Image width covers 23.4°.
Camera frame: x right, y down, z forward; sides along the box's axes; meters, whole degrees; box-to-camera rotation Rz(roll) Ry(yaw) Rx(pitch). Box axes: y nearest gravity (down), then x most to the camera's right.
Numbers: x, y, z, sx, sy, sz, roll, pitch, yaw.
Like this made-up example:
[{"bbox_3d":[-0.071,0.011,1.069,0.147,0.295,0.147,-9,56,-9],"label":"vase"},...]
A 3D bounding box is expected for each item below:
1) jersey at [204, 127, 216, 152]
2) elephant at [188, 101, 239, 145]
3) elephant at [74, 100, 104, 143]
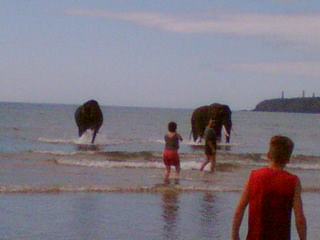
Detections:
[{"bbox_3d":[1.620,0.657,25.097,0.377,0.822,0.418,1,7,3],"label":"jersey"},{"bbox_3d":[2.830,0.307,40.335,1.490,1.953,3.237,1,0,-39],"label":"elephant"},{"bbox_3d":[-3.457,-0.073,36.776,1.270,1.739,0.789,0,7,-6],"label":"elephant"}]
